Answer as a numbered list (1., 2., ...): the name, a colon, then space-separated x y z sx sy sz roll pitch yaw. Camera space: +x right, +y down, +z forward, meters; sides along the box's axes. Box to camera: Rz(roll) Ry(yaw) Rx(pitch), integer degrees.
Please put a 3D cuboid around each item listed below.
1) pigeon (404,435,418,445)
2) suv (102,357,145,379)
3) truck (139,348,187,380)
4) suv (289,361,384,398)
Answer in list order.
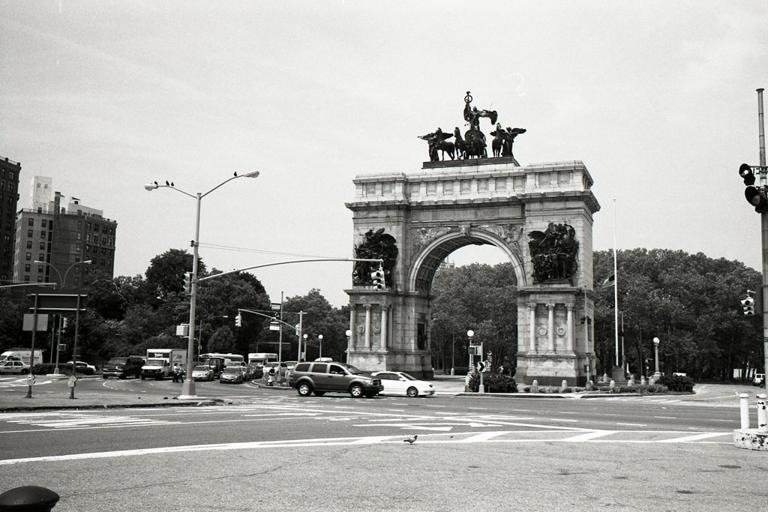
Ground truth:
1. pigeon: 0.776 5.420 26.994 0.530 0.349 0.179 1 -18 6
2. suv: -22.243 9.561 78.826 2.097 1.511 3.356 -4 -16 10
3. truck: -18.903 9.020 78.004 2.918 3.064 6.086 -2 -12 6
4. suv: -2.832 6.727 50.101 5.058 2.033 2.122 -4 -11 23
